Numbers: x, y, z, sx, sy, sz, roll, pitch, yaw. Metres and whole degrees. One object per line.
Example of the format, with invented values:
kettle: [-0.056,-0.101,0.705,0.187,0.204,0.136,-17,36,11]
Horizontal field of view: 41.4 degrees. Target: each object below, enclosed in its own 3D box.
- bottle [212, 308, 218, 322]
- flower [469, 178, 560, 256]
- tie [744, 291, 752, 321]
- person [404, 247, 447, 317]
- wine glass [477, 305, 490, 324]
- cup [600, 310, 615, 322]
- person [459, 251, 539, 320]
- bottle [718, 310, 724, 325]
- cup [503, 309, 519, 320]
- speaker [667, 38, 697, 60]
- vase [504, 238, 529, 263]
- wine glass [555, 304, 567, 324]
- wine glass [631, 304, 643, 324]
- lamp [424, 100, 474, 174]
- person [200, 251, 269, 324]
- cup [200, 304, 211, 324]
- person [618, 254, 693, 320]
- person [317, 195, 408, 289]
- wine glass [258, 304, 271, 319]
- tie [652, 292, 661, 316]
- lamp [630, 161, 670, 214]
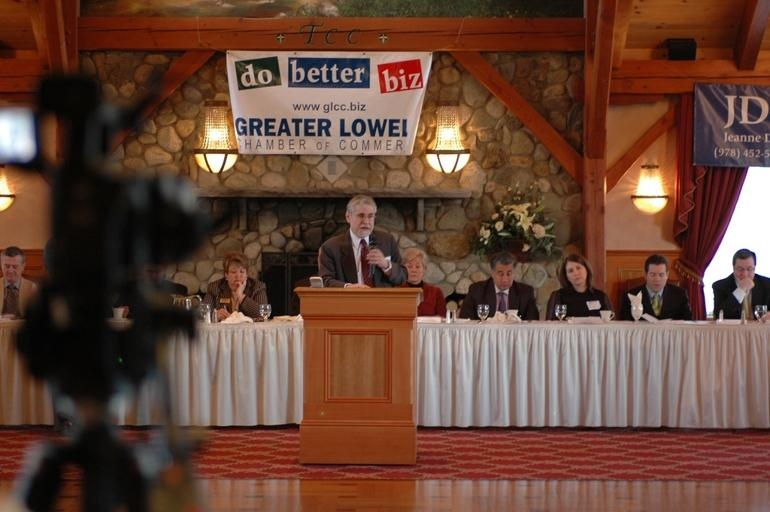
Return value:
bottle: [-1.522,0.533,9.098,0.067,0.114,0.154,0,-5,-10]
flower: [1.469,-0.423,11.637,0.744,0.991,0.809,1,-10,-7]
tie: [3.450,0.445,9.645,0.077,0.284,0.295,-3,-5,25]
person: [0.381,0.237,9.685,0.400,0.705,0.824,-1,-5,3]
wine glass: [0.886,0.511,9.002,0.119,0.207,0.126,-2,2,0]
cup: [1.992,0.535,9.118,0.130,0.104,0.087,11,-16,-40]
person: [1.083,0.371,9.578,0.754,0.889,0.539,2,7,15]
bottle: [3.023,0.545,9.136,0.052,0.125,0.342,-2,-5,18]
cup: [1.154,0.532,9.185,0.122,0.104,0.274,-1,-5,8]
speaker: [3.367,-2.345,11.481,0.368,0.278,0.212,0,0,10]
vase: [1.480,-0.056,11.399,0.264,0.278,0.274,2,-3,-17]
wine glass: [1.573,0.509,9.148,0.129,0.219,0.138,0,-4,-1]
wine glass: [2.268,0.534,9.201,0.124,0.211,0.127,-4,2,0]
lamp: [0.837,-1.352,11.683,0.648,0.974,0.645,1,-2,-26]
person: [-1.390,0.310,9.529,0.598,1.100,0.592,0,-12,-12]
cup: [-1.588,0.517,8.976,0.087,0.221,0.092,-4,-12,-1]
person: [2.567,0.358,9.546,0.657,0.727,0.407,-1,6,9]
person: [-0.180,-0.118,8.241,0.696,0.777,0.654,0,-5,-5]
wine glass: [-1.074,0.499,9.134,0.118,0.145,0.126,2,-5,-3]
tie: [2.560,0.447,9.531,0.041,0.185,0.087,7,-6,-40]
lamp: [3.076,-0.755,11.686,0.435,0.644,0.436,-7,15,-31]
